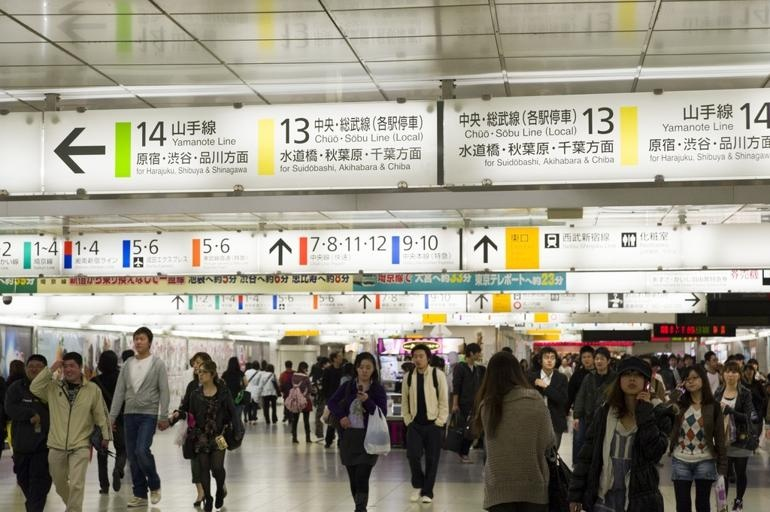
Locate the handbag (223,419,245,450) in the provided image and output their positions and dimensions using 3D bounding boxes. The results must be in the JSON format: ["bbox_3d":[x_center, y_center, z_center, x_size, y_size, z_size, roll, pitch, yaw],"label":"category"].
[{"bbox_3d":[-2.123,2.477,14.283,0.204,0.360,0.473,-1,-6,11],"label":"handbag"}]

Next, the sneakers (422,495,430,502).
[{"bbox_3d":[0.574,3.416,14.441,0.156,0.095,0.165,0,-6,5],"label":"sneakers"}]

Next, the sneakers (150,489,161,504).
[{"bbox_3d":[-3.330,3.409,14.585,0.146,0.211,0.307,2,-6,-14],"label":"sneakers"}]

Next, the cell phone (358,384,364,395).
[{"bbox_3d":[-0.323,1.714,13.172,0.074,0.109,0.181,1,-6,-4],"label":"cell phone"}]

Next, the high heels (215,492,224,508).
[{"bbox_3d":[-2.343,3.388,14.227,0.107,0.230,0.094,2,-9,-2],"label":"high heels"}]

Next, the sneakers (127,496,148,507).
[{"bbox_3d":[-3.550,3.439,14.443,0.253,0.141,0.235,2,-6,-15],"label":"sneakers"}]

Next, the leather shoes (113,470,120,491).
[{"bbox_3d":[-4.218,3.470,15.818,0.112,0.278,0.114,-1,-18,-6],"label":"leather shoes"}]

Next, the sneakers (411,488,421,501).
[{"bbox_3d":[0.428,3.402,14.662,0.144,0.140,0.344,0,-6,4],"label":"sneakers"}]

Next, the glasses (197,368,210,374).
[{"bbox_3d":[-2.548,1.583,14.120,0.204,0.067,0.203,0,-10,7],"label":"glasses"}]

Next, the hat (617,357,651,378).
[{"bbox_3d":[2.531,1.116,10.330,0.328,0.224,0.446,-1,-6,13],"label":"hat"}]

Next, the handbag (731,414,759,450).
[{"bbox_3d":[4.909,2.376,13.746,0.462,0.428,0.159,5,-8,-40],"label":"handbag"}]
